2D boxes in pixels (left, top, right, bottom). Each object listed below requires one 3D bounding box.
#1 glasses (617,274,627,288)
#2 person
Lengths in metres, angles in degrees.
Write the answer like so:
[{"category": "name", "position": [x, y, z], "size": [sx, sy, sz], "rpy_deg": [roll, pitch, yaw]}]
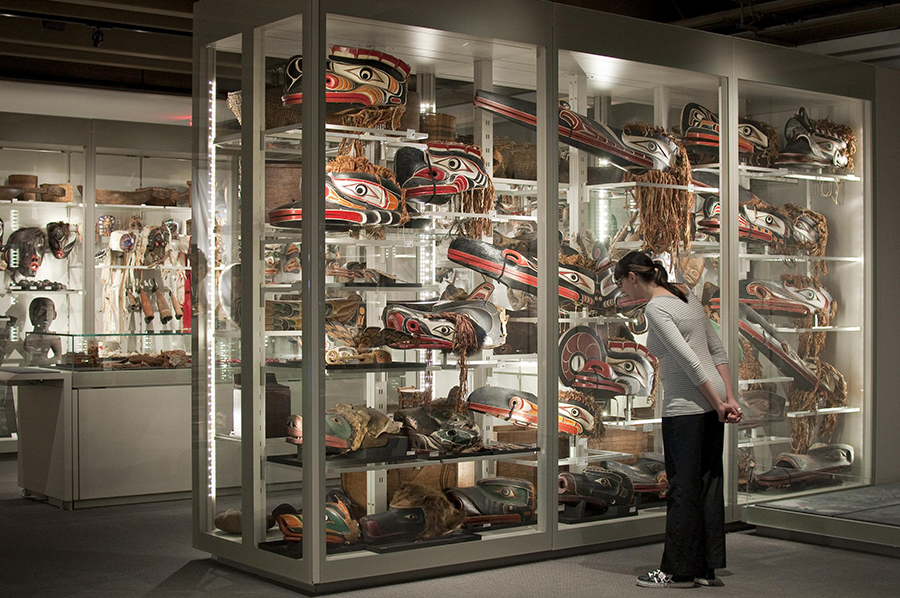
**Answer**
[{"category": "glasses", "position": [1.137, -0.129, 4.834], "size": [0.054, 0.068, 0.069], "rpy_deg": [15, -46, -23]}, {"category": "person", "position": [1.445, 0.732, 4.625], "size": [0.702, 2.079, 0.449], "rpy_deg": [-1, -2, 11]}]
